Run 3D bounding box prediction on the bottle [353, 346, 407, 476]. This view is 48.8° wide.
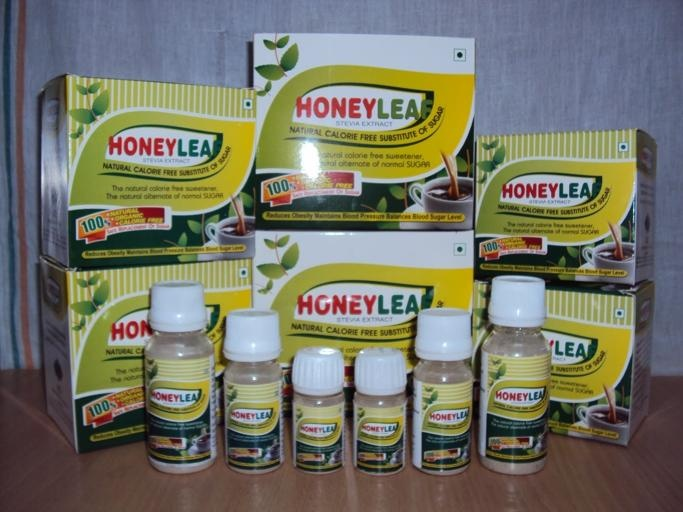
[{"bbox_3d":[0.064,0.258,1.255,0.089,0.194,0.100,0,21,3],"label":"bottle"}]

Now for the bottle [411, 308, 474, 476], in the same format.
[{"bbox_3d":[0.171,0.222,1.267,0.101,0.254,0.148,2,21,8],"label":"bottle"}]
